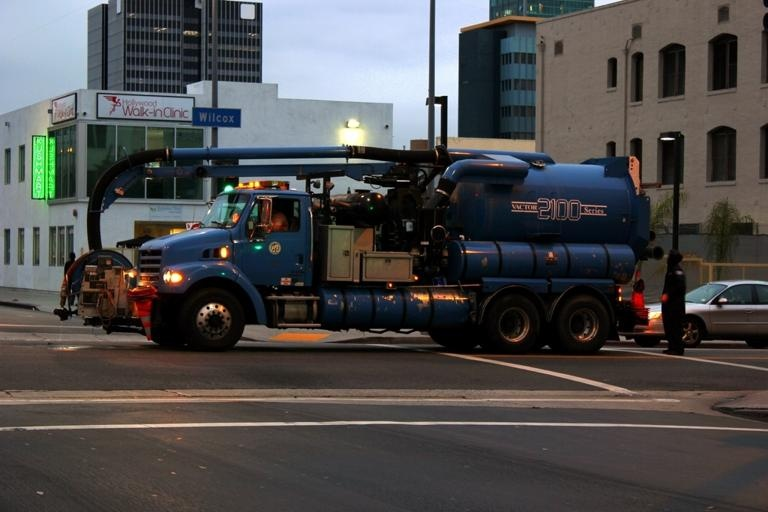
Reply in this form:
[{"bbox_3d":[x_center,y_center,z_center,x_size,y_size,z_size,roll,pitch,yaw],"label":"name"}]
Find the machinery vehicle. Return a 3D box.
[{"bbox_3d":[-0.114,0.008,25.390,15.338,5.301,5.313,2,-2,-15],"label":"machinery vehicle"}]
